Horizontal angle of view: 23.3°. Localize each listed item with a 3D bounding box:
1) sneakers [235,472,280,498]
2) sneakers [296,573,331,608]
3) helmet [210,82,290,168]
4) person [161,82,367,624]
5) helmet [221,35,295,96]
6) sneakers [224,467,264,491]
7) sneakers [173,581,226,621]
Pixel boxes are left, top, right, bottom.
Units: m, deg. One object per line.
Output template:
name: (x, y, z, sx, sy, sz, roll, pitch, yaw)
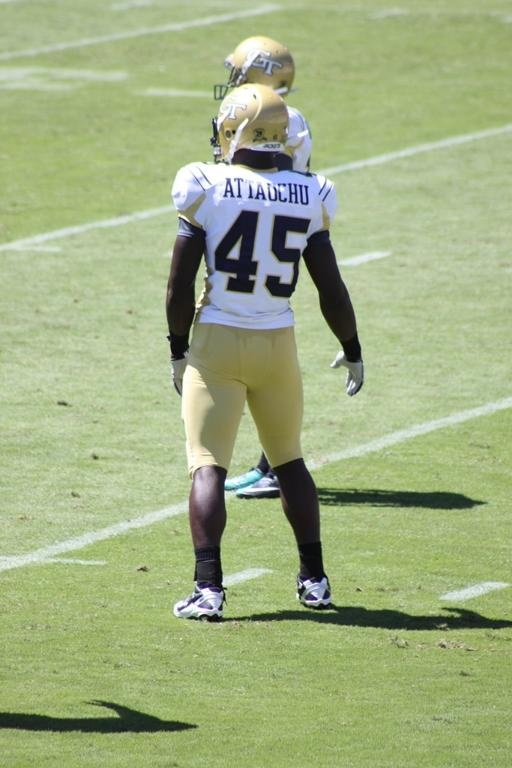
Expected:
sneakers: (0.018, 0.400, 4.881, 0.225, 0.081, 0.071, -3, -7, 1)
sneakers: (0.176, 0.609, 3.659, 0.061, 0.051, 0.126, -1, 10, -9)
helmet: (-0.003, -0.764, 3.664, 0.277, 0.213, 0.219, 11, 16, 43)
person: (0.017, -0.096, 3.557, 0.563, 1.498, 0.659, 2, 12, -1)
helmet: (0.003, -1.194, 4.734, 0.318, 0.211, 0.223, 7, 11, 7)
sneakers: (-0.050, 0.378, 4.940, 0.194, 0.066, 0.064, -11, -12, 6)
sneakers: (-0.154, 0.604, 3.405, 0.067, 0.079, 0.175, 13, -11, -32)
